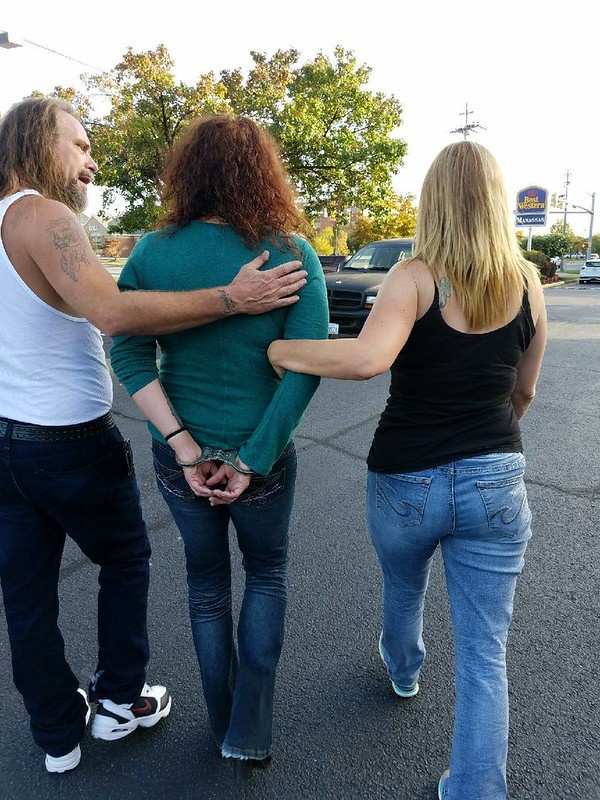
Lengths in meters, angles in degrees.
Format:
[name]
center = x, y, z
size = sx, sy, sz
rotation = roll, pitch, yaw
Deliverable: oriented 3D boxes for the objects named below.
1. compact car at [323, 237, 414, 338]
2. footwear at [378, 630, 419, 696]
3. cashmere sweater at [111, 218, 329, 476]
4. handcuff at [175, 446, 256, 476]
[compact car]
center = 1.063, -1.831, 9.823
size = 1.258, 1.140, 2.565
rotation = 5, 10, 28
[footwear]
center = 0.363, 0.934, 2.379
size = 0.096, 0.267, 0.111
rotation = -3, -6, 4
[cashmere sweater]
center = -0.213, -0.172, 1.902
size = 0.656, 0.673, 0.377
rotation = 1, 19, 0
[handcuff]
center = -0.224, 0.164, 1.756
size = 0.221, 0.068, 0.038
rotation = 6, -3, 9
